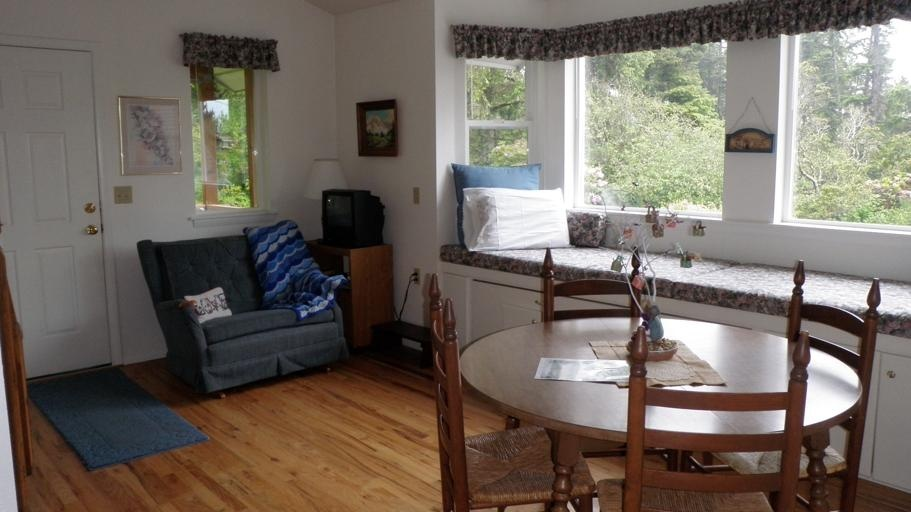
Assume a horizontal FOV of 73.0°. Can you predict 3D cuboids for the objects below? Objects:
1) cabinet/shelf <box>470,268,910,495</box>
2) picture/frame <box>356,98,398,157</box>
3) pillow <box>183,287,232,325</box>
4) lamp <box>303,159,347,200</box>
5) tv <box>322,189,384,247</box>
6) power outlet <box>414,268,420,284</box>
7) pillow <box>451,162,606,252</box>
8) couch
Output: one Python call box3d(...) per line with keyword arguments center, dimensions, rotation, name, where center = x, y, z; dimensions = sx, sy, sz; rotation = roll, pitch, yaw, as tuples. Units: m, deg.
box3d(center=(1.144, 0.688, 3.692), dimensions=(1.720, 0.379, 1.567), rotation=(4, 8, 25), name="cabinet/shelf")
box3d(center=(-0.784, -1.326, 6.266), dimensions=(0.668, 0.625, 0.074), rotation=(3, 7, 34), name="picture/frame")
box3d(center=(-2.188, 0.441, 5.415), dimensions=(0.117, 0.274, 0.396), rotation=(-27, -5, 35), name="pillow")
box3d(center=(-1.300, -0.795, 6.390), dimensions=(0.440, 0.323, 0.396), rotation=(0, 8, 4), name="lamp")
box3d(center=(-1.054, -0.362, 6.404), dimensions=(0.609, 0.590, 0.623), rotation=(0, -1, 42), name="tv")
box3d(center=(-0.391, 0.198, 6.161), dimensions=(0.035, 0.121, 0.138), rotation=(0, 4, -36), name="power outlet")
box3d(center=(0.635, -0.614, 5.774), dimensions=(1.076, 0.969, 0.315), rotation=(1, -12, -16), name="pillow")
box3d(center=(-2.034, 0.423, 5.714), dimensions=(1.526, 1.092, 1.362), rotation=(-4, 9, -33), name="couch")
